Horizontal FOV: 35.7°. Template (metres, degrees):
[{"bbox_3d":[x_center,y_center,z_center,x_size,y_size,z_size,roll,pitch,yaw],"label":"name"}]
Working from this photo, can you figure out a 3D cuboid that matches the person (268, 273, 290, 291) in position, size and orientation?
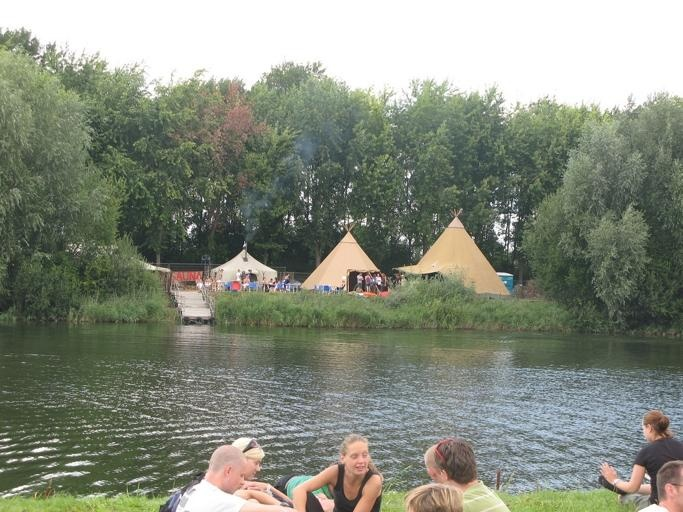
[{"bbox_3d":[-4.416,1.947,75.201,0.980,0.924,1.420,3,2,6],"label":"person"}]

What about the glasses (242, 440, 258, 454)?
[{"bbox_3d":[-2.777,5.724,31.768,0.371,0.150,0.104,-43,-64,15],"label":"glasses"}]
